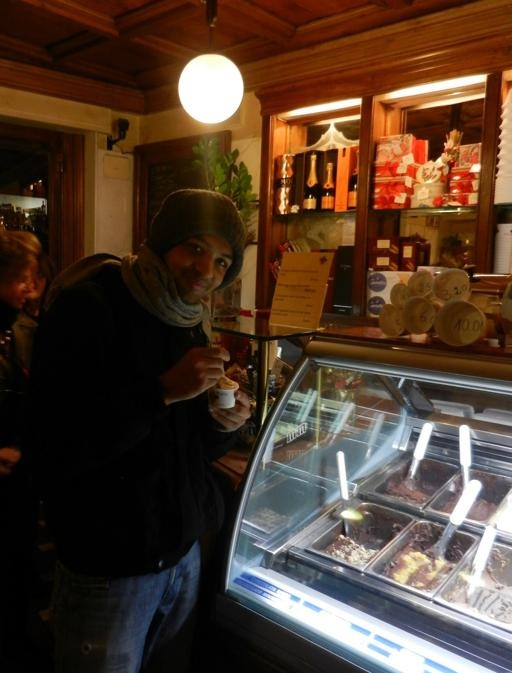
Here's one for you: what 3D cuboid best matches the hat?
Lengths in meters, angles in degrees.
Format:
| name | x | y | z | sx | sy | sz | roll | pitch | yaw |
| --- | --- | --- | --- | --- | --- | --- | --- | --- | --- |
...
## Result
| name | x | y | z | sx | sy | sz | roll | pitch | yaw |
| --- | --- | --- | --- | --- | --- | --- | --- | --- | --- |
| hat | -0.150 | -0.222 | 1.236 | 0.156 | 0.157 | 0.208 | 21 | -18 | -32 |

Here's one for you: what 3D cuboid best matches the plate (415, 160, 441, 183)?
| name | x | y | z | sx | sy | sz | roll | pitch | yaw |
| --- | --- | --- | --- | --- | --- | --- | --- | --- | --- |
| plate | 0.887 | -0.839 | 2.650 | 0.028 | 0.116 | 0.119 | 13 | 11 | -46 |

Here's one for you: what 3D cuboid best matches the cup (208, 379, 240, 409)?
| name | x | y | z | sx | sy | sz | roll | pitch | yaw |
| --- | --- | --- | --- | --- | --- | --- | --- | --- | --- |
| cup | -0.069 | 0.123 | 1.110 | 0.057 | 0.067 | 0.069 | 3 | 0 | -16 |
